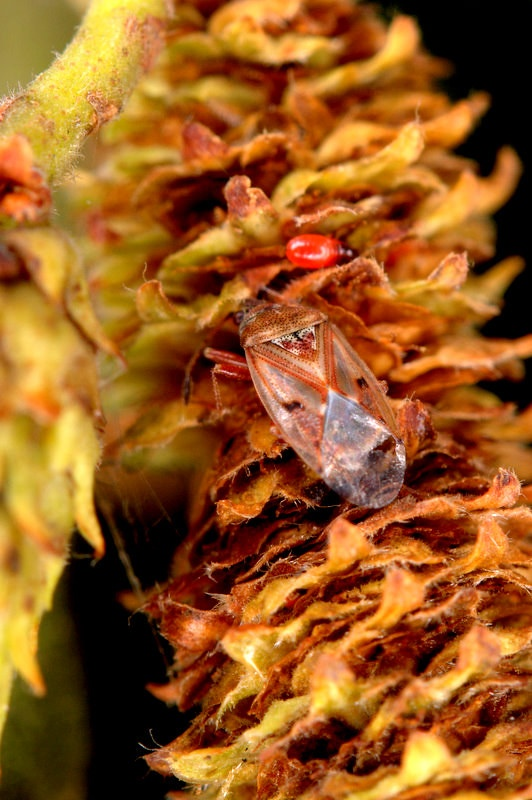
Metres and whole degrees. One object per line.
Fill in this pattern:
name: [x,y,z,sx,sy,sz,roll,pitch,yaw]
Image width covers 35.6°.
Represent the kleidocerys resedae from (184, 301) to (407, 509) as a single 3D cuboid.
kleidocerys resedae: [0.064,0.007,1.086,0.181,0.155,0.357,-32,63,-4]
